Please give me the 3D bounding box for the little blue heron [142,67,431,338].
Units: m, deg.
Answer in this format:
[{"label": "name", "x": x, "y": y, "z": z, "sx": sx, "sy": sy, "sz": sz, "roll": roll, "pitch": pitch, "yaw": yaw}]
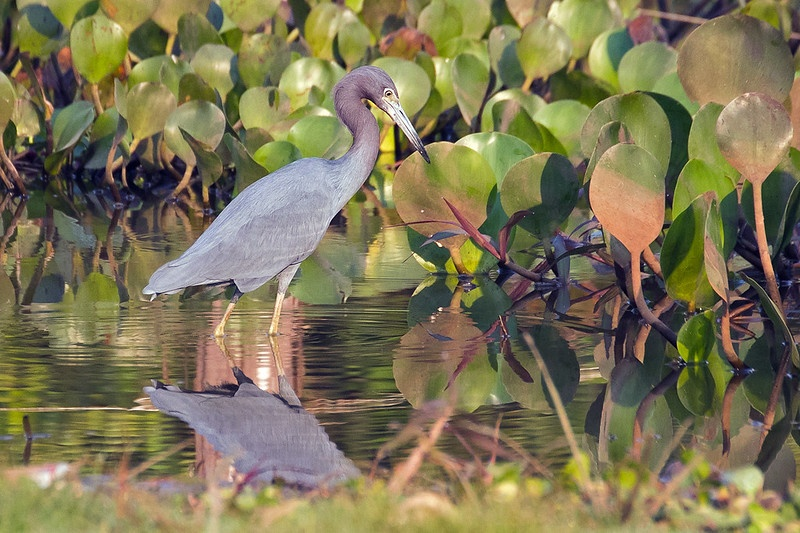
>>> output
[{"label": "little blue heron", "x": -0.736, "y": -0.350, "z": 7.481, "sx": 1.657, "sy": 1.868, "sz": 0.799, "roll": -1, "pitch": 5, "yaw": -12}]
